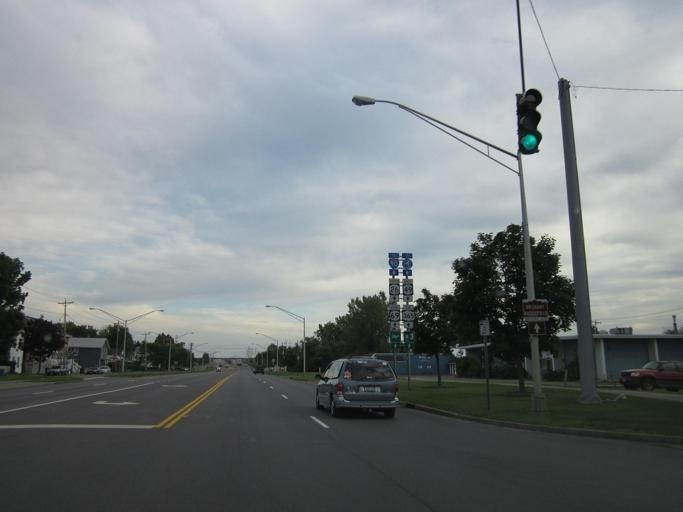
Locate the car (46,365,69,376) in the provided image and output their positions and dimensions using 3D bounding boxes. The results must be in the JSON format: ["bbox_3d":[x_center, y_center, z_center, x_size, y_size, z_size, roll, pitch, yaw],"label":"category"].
[{"bbox_3d":[-41.919,16.866,78.827,3.275,1.923,2.574,-9,-12,20],"label":"car"}]

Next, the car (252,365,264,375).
[{"bbox_3d":[-16.371,22.770,106.682,2.696,1.456,3.792,3,-9,-13],"label":"car"}]

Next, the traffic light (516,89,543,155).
[{"bbox_3d":[5.741,-4.072,16.252,0.676,1.832,0.911,0,-13,7],"label":"traffic light"}]
